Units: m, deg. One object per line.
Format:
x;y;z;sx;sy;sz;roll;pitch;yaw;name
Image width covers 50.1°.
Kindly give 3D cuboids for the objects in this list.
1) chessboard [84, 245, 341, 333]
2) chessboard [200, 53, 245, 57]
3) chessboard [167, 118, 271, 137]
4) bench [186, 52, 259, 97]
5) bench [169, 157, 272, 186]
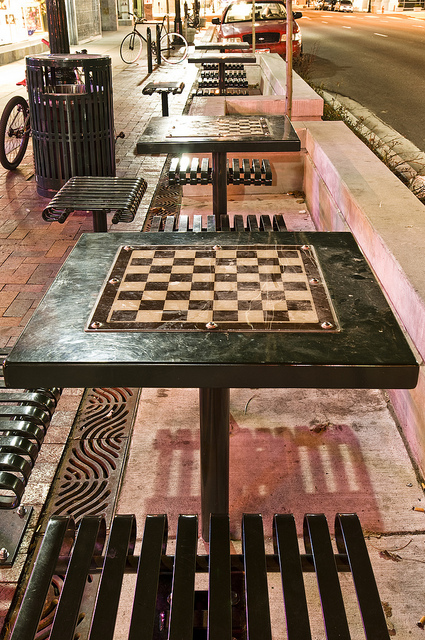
0.001;-0.159;1.768;0.894;0.047;0.857;-1;28;3;chessboard
0.227;-5.766;9.870;0.920;0.093;0.814;0;28;5;chessboard
0.066;-2.047;4.780;1.002;0.118;1.151;-2;28;2;chessboard
0.231;-5.601;10.224;1.415;0.885;3.857;0;28;4;bench
0.080;-1.528;4.686;0.997;0.287;0.654;-2;28;2;bench
